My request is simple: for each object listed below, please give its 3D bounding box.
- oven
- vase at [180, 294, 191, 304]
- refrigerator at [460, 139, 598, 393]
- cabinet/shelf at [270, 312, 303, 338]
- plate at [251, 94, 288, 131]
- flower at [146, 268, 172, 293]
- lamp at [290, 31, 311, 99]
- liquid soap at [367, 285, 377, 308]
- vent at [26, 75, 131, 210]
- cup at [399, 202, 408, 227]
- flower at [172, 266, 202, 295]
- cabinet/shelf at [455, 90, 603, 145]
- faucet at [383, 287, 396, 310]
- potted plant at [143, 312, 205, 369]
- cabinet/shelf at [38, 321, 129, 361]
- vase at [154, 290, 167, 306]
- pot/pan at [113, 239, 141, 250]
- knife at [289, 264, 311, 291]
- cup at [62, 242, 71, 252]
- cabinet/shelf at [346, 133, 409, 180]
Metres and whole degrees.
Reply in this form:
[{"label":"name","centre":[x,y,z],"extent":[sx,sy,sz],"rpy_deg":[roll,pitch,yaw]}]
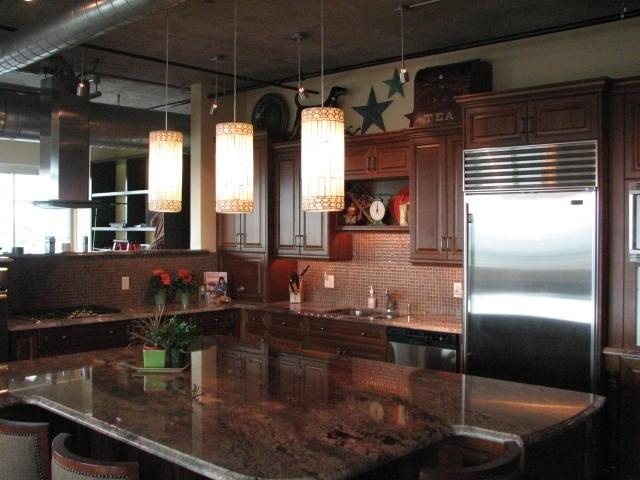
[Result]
[{"label":"oven","centre":[0.960,1.002,4.998],"extent":[0.666,0.604,0.359],"rpy_deg":[0,-2,41]},{"label":"vase","centre":[-1.607,0.705,6.317],"extent":[0.126,0.121,0.121],"rpy_deg":[1,-4,-12]},{"label":"refrigerator","centre":[1.733,0.270,4.778],"extent":[1.124,2.121,0.714],"rpy_deg":[-2,11,1]},{"label":"cabinet/shelf","centre":[-0.375,0.976,5.989],"extent":[0.452,0.256,0.260],"rpy_deg":[-3,-6,43]},{"label":"plate","centre":[-0.673,-1.678,6.990],"extent":[0.627,0.504,0.098],"rpy_deg":[2,3,38]},{"label":"flower","centre":[-1.854,0.480,6.152],"extent":[0.281,0.253,0.266],"rpy_deg":[2,-1,-7]},{"label":"lamp","centre":[-0.210,-1.772,5.418],"extent":[0.210,0.696,0.200],"rpy_deg":[6,22,21]},{"label":"liquid soap","centre":[0.579,0.657,6.088],"extent":[0.089,0.263,0.141],"rpy_deg":[-1,3,-35]},{"label":"vent","centre":[-2.826,-1.087,5.959],"extent":[0.686,1.388,0.625],"rpy_deg":[3,6,-1]},{"label":"cup","centre":[0.870,-0.268,5.559],"extent":[0.090,0.238,0.118],"rpy_deg":[1,2,7]},{"label":"flower","centre":[-1.582,0.486,6.301],"extent":[0.289,0.262,0.282],"rpy_deg":[-3,8,-36]},{"label":"cabinet/shelf","centre":[1.866,-1.063,4.612],"extent":[0.402,0.429,1.265],"rpy_deg":[-8,11,-37]},{"label":"faucet","centre":[0.758,0.671,5.943],"extent":[0.165,0.243,0.103],"rpy_deg":[2,3,40]},{"label":"potted plant","centre":[-0.999,0.678,3.489],"extent":[0.349,0.317,0.256],"rpy_deg":[-2,-17,35]},{"label":"cabinet/shelf","centre":[-2.285,0.952,5.133],"extent":[0.522,0.304,0.294],"rpy_deg":[1,-2,-43]},{"label":"vase","centre":[-1.854,0.680,6.162],"extent":[0.183,0.184,0.174],"rpy_deg":[1,-2,-18]},{"label":"pot/pan","centre":[-3.217,0.092,8.851],"extent":[0.290,0.149,0.464],"rpy_deg":[1,-3,-35]},{"label":"knife","centre":[-0.267,0.481,6.631],"extent":[0.235,0.326,0.301],"rpy_deg":[1,3,23]},{"label":"cup","centre":[-2.878,0.083,6.032],"extent":[0.106,0.093,0.105],"rpy_deg":[3,4,0]},{"label":"cabinet/shelf","centre":[0.602,-0.891,5.615],"extent":[0.784,0.468,0.159],"rpy_deg":[3,3,44]}]
